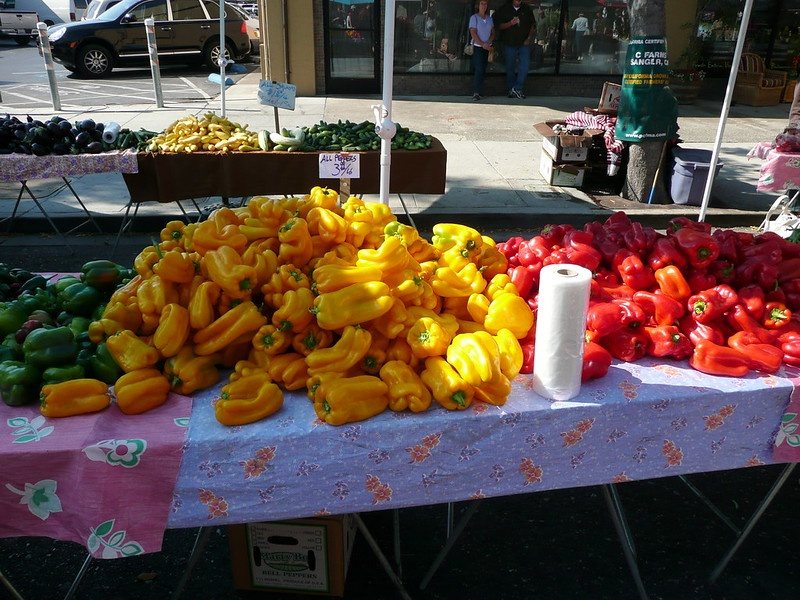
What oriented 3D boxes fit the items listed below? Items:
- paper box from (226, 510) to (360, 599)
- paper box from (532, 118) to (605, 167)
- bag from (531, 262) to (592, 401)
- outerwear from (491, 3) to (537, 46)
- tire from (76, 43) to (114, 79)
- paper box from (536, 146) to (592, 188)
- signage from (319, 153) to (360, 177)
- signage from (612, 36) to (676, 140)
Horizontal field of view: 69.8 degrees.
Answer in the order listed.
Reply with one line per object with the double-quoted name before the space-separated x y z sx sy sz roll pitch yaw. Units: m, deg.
"paper box" -0.563 1.324 3.135 0.582 0.325 0.553 -1 7 -4
"paper box" 2.815 -2.543 9.325 0.913 0.350 0.908 -3 34 -7
"bag" 0.723 0.168 2.593 0.201 0.562 0.219 3 27 2
"outerwear" 2.994 -7.344 15.217 1.365 1.208 0.700 -7 36 1
"tire" -9.522 -7.486 17.843 0.822 0.800 0.286 -38 33 -10
"paper box" 2.853 -2.200 9.716 0.901 0.383 0.526 -15 54 -40
"signage" -0.689 -1.518 6.462 0.326 0.188 0.032 -4 21 -12
"signage" 3.548 -2.949 8.168 0.775 1.446 0.346 10 28 16
